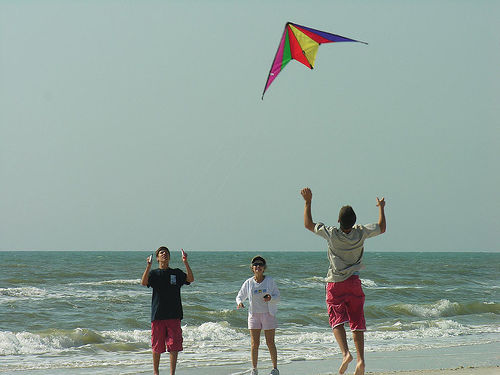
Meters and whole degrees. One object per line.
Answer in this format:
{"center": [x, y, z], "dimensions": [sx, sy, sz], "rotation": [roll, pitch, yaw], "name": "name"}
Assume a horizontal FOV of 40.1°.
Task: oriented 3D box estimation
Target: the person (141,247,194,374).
{"center": [-1.799, 2.683, 14.829], "dimensions": [1.019, 2.731, 0.599], "rotation": [-1, -8, -7], "name": "person"}
